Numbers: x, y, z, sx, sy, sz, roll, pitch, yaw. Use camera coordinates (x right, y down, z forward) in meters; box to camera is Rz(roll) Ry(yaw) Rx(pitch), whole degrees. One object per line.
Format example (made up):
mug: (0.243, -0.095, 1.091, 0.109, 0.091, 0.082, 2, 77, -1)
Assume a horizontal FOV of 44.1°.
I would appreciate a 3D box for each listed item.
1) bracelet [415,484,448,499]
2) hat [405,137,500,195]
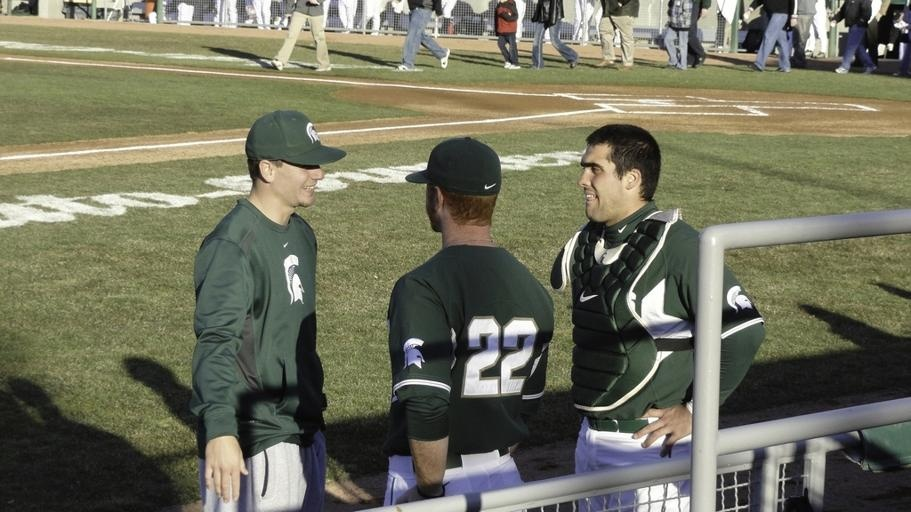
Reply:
bracelet: (-0.233, 2.191, 10.374, 0.197, 0.063, 0.161, 0, 10, 4)
hat: (-0.009, -0.831, 10.557, 0.718, 0.345, 0.507, 11, 13, 15)
